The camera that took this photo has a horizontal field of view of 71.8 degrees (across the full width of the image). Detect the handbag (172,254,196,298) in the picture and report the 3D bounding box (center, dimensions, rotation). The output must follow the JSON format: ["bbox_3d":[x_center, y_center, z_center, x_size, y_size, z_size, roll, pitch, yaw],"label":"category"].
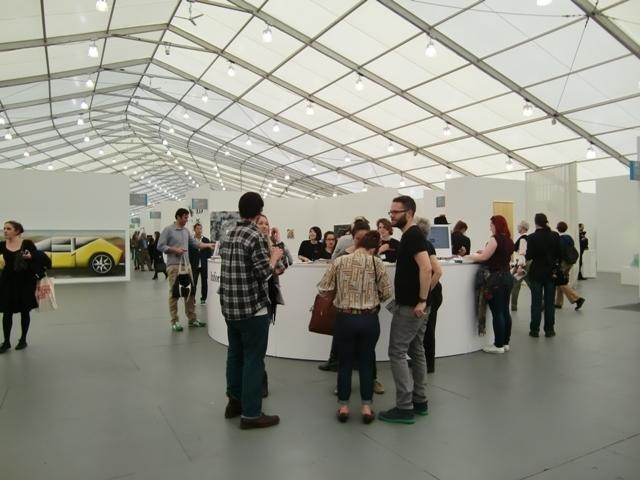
[{"bbox_3d":[-2.448,0.643,7.941,0.401,0.811,0.224,-1,1,-29],"label":"handbag"}]

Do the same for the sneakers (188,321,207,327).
[{"bbox_3d":[-2.280,1.579,8.234,0.304,0.142,0.116,0,-4,3],"label":"sneakers"}]

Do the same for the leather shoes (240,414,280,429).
[{"bbox_3d":[-0.609,1.799,4.488,0.384,0.177,0.147,-1,-3,-14],"label":"leather shoes"}]

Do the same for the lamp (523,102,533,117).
[{"bbox_3d":[6.658,-4.244,14.201,0.363,0.395,0.896,3,20,16],"label":"lamp"}]

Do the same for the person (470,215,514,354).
[{"bbox_3d":[2.572,0.654,6.536,0.626,2.034,0.462,-1,1,-44],"label":"person"}]

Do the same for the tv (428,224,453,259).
[{"bbox_3d":[1.808,0.025,6.691,0.469,0.517,0.178,0,-15,-3],"label":"tv"}]

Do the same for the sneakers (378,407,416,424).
[{"bbox_3d":[0.783,1.797,4.564,0.335,0.157,0.150,3,-8,7],"label":"sneakers"}]

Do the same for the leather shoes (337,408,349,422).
[{"bbox_3d":[0.235,1.790,4.502,0.071,0.074,0.175,0,0,0],"label":"leather shoes"}]

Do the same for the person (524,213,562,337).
[{"bbox_3d":[3.901,0.581,7.730,0.513,2.085,0.998,0,1,31],"label":"person"}]

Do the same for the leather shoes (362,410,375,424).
[{"bbox_3d":[0.488,1.788,4.527,0.136,0.147,0.151,0,1,7],"label":"leather shoes"}]

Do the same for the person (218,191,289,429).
[{"bbox_3d":[-0.706,0.692,4.575,0.666,2.379,0.430,0,1,-3],"label":"person"}]

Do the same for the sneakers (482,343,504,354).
[{"bbox_3d":[2.572,1.601,6.558,0.267,0.117,0.127,2,-2,17],"label":"sneakers"}]

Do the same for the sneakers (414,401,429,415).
[{"bbox_3d":[1.056,1.780,4.645,0.079,0.096,0.215,1,2,-3],"label":"sneakers"}]

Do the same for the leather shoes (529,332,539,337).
[{"bbox_3d":[3.589,1.594,7.430,0.144,0.079,0.167,0,1,28],"label":"leather shoes"}]

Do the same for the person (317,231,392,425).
[{"bbox_3d":[0.367,0.884,4.633,0.739,1.945,0.352,0,1,9],"label":"person"}]

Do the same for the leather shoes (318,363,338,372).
[{"bbox_3d":[0.106,1.685,5.781,0.247,0.113,0.091,2,-5,37],"label":"leather shoes"}]
